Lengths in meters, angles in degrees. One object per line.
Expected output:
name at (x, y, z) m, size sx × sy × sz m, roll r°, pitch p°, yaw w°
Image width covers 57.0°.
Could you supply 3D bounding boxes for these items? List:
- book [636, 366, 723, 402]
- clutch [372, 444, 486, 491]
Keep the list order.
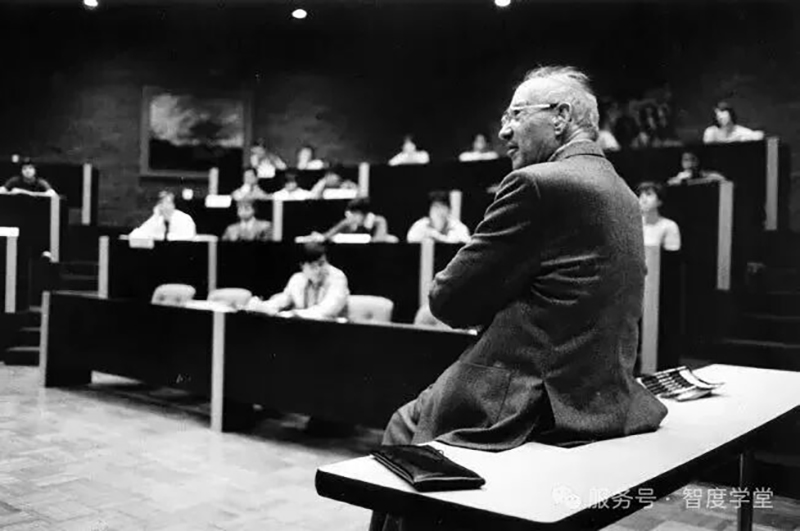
book at (1.271, 0.545, 3.353) m, size 0.221 × 0.058 × 0.218 m, roll -5°, pitch 14°, yaw -22°
clutch at (0.087, 0.708, 2.620) m, size 0.294 × 0.083 × 0.379 m, roll 6°, pitch 1°, yaw -24°
